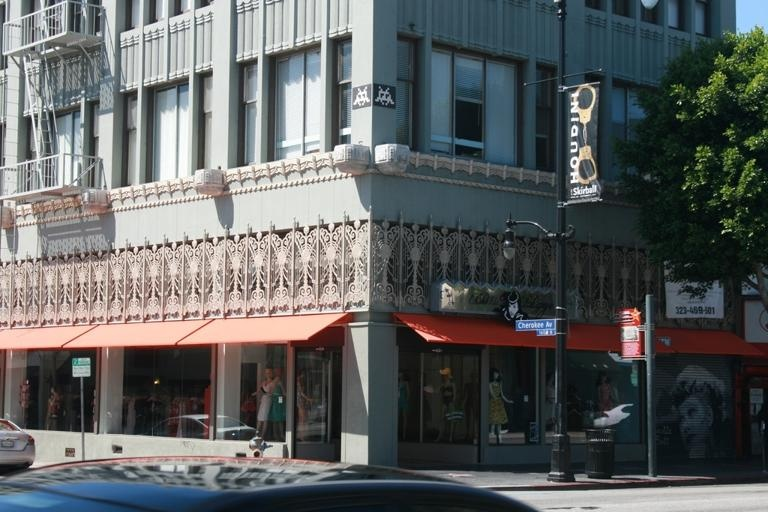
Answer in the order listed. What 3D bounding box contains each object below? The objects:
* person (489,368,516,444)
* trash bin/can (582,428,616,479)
[{"bbox_3d":[3.981,5.454,58.948,0.816,2.384,0.670,1,-2,5],"label":"person"},{"bbox_3d":[7.066,6.673,55.729,1.269,1.975,1.330,1,-9,-4],"label":"trash bin/can"}]
